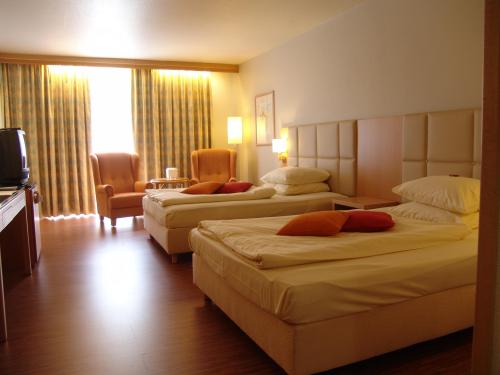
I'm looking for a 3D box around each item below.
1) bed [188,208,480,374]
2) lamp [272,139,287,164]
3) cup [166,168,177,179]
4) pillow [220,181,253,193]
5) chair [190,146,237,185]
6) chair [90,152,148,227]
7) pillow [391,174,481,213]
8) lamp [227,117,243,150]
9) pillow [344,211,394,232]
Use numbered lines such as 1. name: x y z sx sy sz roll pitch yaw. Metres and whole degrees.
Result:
1. bed: 0.410 0.392 2.591 1.252 0.483 1.138 -4 6 -28
2. lamp: 0.500 -0.610 6.293 0.274 0.412 0.257 1 6 3
3. cup: -1.360 -0.233 6.529 0.229 0.221 0.227 2 14 -1
4. pillow: -0.203 0.004 4.996 0.216 0.069 0.231 -4 12 14
5. chair: -0.719 -0.407 7.270 0.686 0.897 0.770 0 -1 -10
6. chair: -2.244 -0.001 6.447 0.862 1.171 1.030 -5 10 -23
7. pillow: 1.718 0.039 3.341 0.292 0.280 0.722 -4 9 -20
8. lamp: -0.295 -1.156 7.525 0.281 0.510 0.179 -3 10 -11
9. pillow: 0.966 0.281 3.057 0.249 0.074 0.226 -3 7 11
